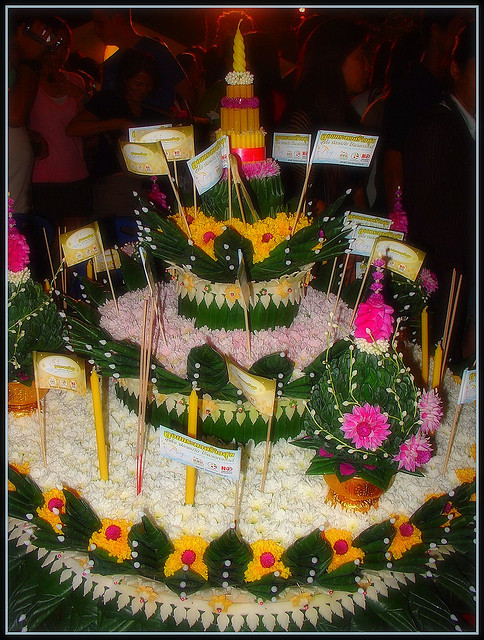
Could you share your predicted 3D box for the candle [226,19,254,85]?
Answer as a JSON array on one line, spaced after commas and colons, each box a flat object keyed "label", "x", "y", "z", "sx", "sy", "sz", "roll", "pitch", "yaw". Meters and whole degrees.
[{"label": "candle", "x": -0.015, "y": -1.166, "z": 2.166, "sx": 0.124, "sy": 0.239, "sz": 0.123, "roll": -8, "pitch": 28, "yaw": -12}]

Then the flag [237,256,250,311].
[{"label": "flag", "x": 0.007, "y": -0.154, "z": 1.948, "sx": 0.015, "sy": 0.166, "sz": 0.180, "roll": -16, "pitch": 59, "yaw": 14}]

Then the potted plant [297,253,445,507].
[{"label": "potted plant", "x": 0.443, "y": 0.237, "z": 1.744, "sx": 0.486, "sy": 0.842, "sz": 0.537, "roll": 22, "pitch": 31, "yaw": 40}]

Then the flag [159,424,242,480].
[{"label": "flag", "x": -0.150, "y": 0.479, "z": 1.776, "sx": 0.293, "sy": 0.185, "sz": 0.029, "roll": 19, "pitch": 46, "yaw": 18}]

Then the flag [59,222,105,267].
[{"label": "flag", "x": -0.799, "y": -0.386, "z": 2.509, "sx": 0.234, "sy": 0.075, "sz": 0.332, "roll": -34, "pitch": 36, "yaw": 8}]

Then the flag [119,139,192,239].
[{"label": "flag", "x": -0.335, "y": -0.514, "z": 2.026, "sx": 0.214, "sy": 0.033, "sz": 0.609, "roll": -9, "pitch": 61, "yaw": -39}]

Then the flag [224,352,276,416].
[{"label": "flag", "x": 0.040, "y": 0.207, "z": 1.712, "sx": 0.229, "sy": 0.148, "sz": 0.071, "roll": 27, "pitch": 36, "yaw": 15}]

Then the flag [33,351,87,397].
[{"label": "flag", "x": -0.739, "y": 0.216, "z": 1.986, "sx": 0.277, "sy": 0.224, "sz": 0.013, "roll": 12, "pitch": 38, "yaw": 9}]

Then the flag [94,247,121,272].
[{"label": "flag", "x": -0.795, "y": -0.388, "z": 2.998, "sx": 0.184, "sy": 0.175, "sz": 0.043, "roll": -17, "pitch": 20, "yaw": -38}]
